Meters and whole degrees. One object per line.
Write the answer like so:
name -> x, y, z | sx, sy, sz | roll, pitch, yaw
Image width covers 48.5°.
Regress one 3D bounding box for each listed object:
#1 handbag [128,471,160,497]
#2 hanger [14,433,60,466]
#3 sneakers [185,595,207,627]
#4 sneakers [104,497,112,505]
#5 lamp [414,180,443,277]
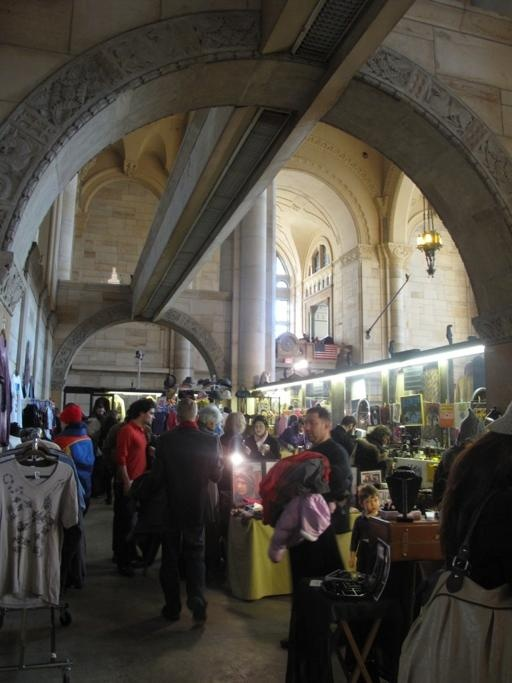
handbag -> -0.823, 1.046, 4.151 | 0.237, 0.213, 0.090 | -4, -10, 26
hanger -> -1.437, 0.701, 3.676 | 0.396, 0.191, 0.525 | 3, -9, -15
sneakers -> -0.419, 1.858, 3.976 | 0.090, 0.261, 0.118 | -4, 19, 9
sneakers -> -2.576, 2.777, 9.870 | 0.083, 0.167, 0.241 | 5, -5, -19
lamp -> 4.171, -2.687, 13.820 | 0.865, 2.117, 0.874 | -4, 2, 36
